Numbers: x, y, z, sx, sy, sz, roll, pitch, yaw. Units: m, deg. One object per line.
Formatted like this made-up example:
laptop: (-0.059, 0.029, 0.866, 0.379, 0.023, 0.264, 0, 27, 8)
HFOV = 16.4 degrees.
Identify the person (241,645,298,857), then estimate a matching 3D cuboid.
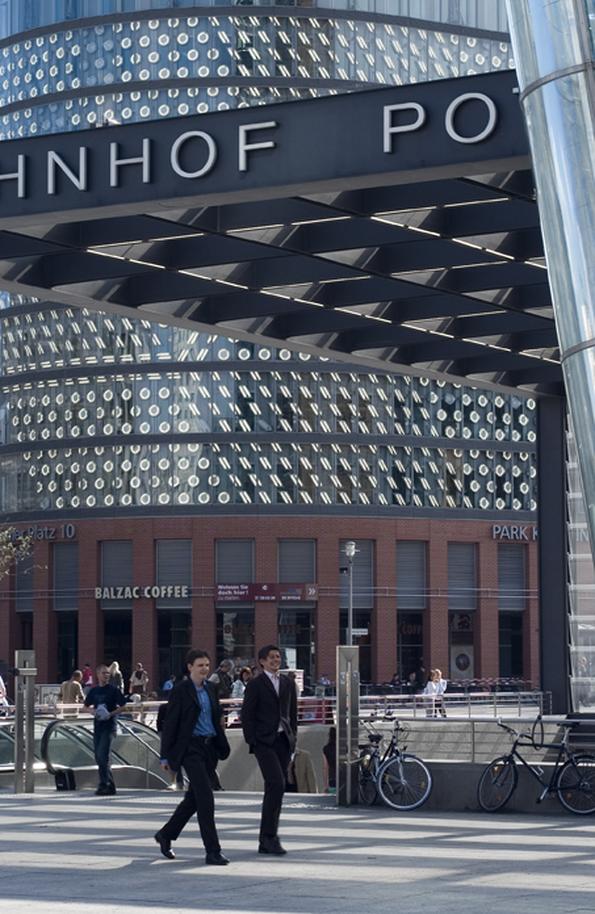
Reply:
person: (-0.246, 2.555, 18.086, 0.476, 1.539, 0.908, 1, 0, -1)

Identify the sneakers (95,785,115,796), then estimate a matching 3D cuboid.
sneakers: (-2.212, 3.812, 23.806, 0.091, 0.112, 0.224, 5, -5, -43)

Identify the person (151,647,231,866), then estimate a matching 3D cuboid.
person: (-0.859, 2.497, 17.292, 0.608, 1.471, 0.806, 1, 0, -5)

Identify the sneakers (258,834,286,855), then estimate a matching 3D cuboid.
sneakers: (-0.187, 3.335, 17.733, 0.260, 0.220, 0.106, -1, -9, 4)

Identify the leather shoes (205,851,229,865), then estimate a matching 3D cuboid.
leather shoes: (-0.658, 3.281, 16.971, 0.157, 0.082, 0.089, -3, -8, 5)

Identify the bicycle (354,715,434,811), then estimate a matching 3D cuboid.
bicycle: (1.036, 3.459, 22.587, 0.927, 0.726, 0.519, -8, -20, 44)
